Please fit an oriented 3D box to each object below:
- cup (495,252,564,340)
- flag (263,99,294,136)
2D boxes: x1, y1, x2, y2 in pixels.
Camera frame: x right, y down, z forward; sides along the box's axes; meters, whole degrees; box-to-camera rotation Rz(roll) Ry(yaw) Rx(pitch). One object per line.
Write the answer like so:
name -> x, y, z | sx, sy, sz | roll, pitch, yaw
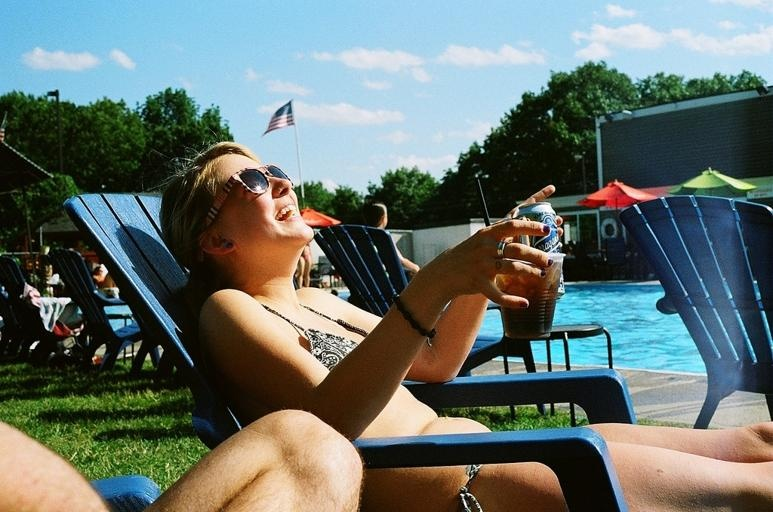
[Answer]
cup -> 0.760, 0.196, 3.790 | 0.388, 0.411, 0.402 | -3, 0, 0
flag -> -3.609, -4.723, 24.804 | 0.842, 1.301, 2.582 | -1, 2, -5
